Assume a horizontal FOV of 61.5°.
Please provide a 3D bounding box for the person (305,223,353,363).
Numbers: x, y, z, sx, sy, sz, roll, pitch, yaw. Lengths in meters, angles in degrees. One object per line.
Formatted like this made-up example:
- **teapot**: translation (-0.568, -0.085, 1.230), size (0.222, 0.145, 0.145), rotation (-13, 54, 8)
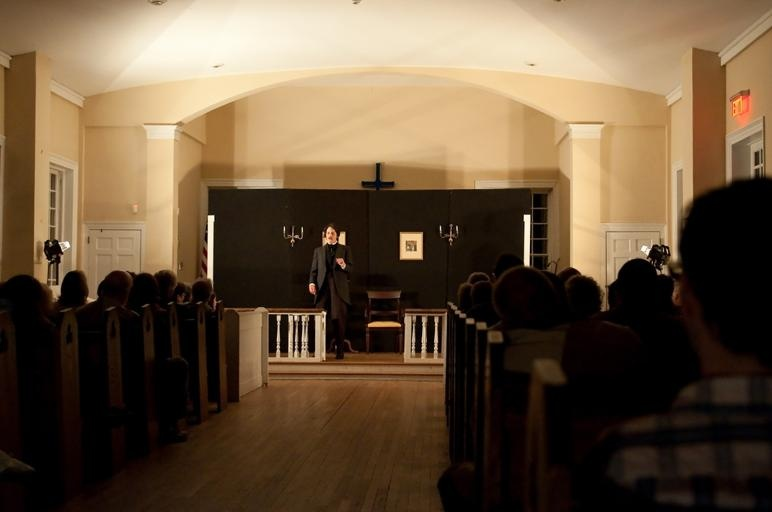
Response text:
- **person**: translation (-0.810, 0.527, 9.674), size (0.590, 1.723, 1.295), rotation (-1, 1, -4)

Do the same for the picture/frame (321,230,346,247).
- **picture/frame**: translation (-0.796, -0.261, 9.876), size (0.238, 0.259, 0.025), rotation (1, -7, -17)

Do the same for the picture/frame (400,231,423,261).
- **picture/frame**: translation (0.424, -0.153, 11.025), size (0.454, 0.575, 0.039), rotation (0, 0, 0)

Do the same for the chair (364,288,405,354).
- **chair**: translation (-0.040, 1.058, 10.488), size (0.757, 1.048, 0.801), rotation (-4, -9, 20)

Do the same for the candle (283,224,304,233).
- **candle**: translation (-1.560, -0.449, 10.931), size (0.238, 0.162, 0.128), rotation (1, -9, -8)
